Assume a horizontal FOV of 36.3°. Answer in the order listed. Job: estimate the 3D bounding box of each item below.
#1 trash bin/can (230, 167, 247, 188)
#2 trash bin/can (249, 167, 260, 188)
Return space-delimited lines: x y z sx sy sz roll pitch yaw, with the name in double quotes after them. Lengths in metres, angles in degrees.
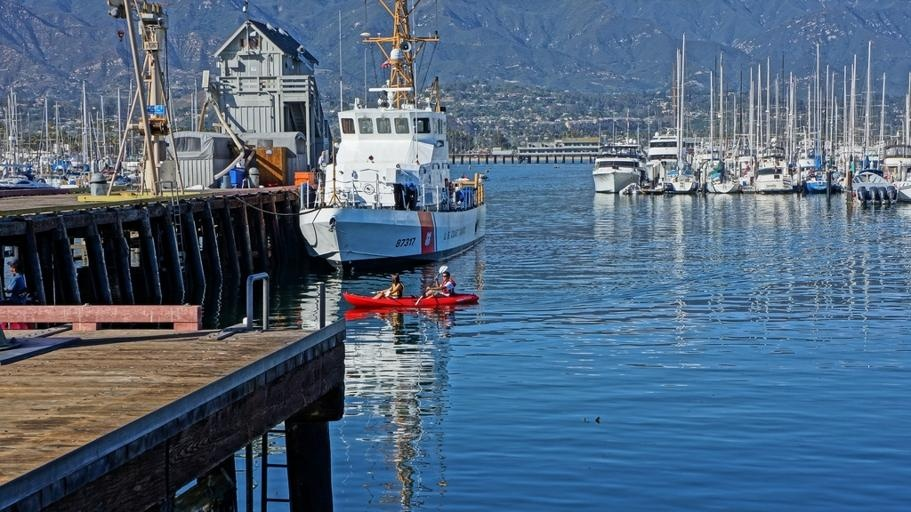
-17.367 -6.240 112.095 1.223 1.522 0.683 -2 4 -12 "trash bin/can"
-16.251 -6.312 113.101 0.866 1.645 3.918 -2 4 -8 "trash bin/can"
